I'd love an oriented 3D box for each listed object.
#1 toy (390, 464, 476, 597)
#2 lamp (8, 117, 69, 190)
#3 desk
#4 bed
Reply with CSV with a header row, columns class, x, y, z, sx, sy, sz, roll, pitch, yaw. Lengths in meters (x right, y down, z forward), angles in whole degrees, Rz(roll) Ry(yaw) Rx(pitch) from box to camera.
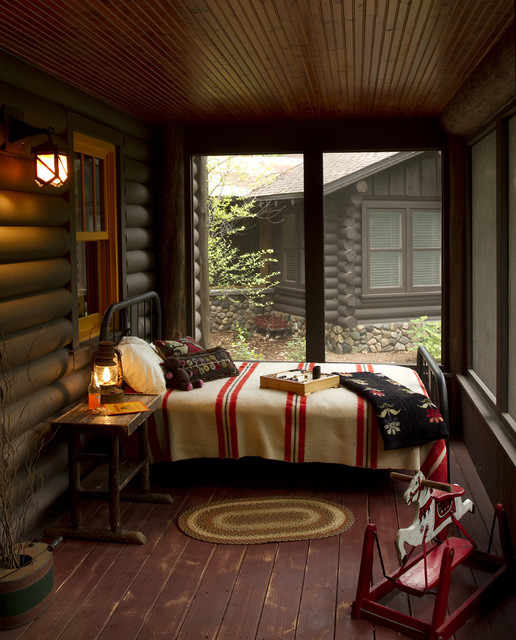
class,x,y,z,sx,sy,sz,roll,pitch,yaw
toy,0.743,0.872,2.009,0.297,0.499,0.762,-1,-1,19
lamp,-1.151,-0.881,2.628,0.295,0.431,0.294,0,7,-2
desk,-0.919,0.912,3.006,0.537,0.658,0.804,-1,-1,-1
bed,0.044,0.499,3.702,2.284,1.086,1.414,0,9,-1
